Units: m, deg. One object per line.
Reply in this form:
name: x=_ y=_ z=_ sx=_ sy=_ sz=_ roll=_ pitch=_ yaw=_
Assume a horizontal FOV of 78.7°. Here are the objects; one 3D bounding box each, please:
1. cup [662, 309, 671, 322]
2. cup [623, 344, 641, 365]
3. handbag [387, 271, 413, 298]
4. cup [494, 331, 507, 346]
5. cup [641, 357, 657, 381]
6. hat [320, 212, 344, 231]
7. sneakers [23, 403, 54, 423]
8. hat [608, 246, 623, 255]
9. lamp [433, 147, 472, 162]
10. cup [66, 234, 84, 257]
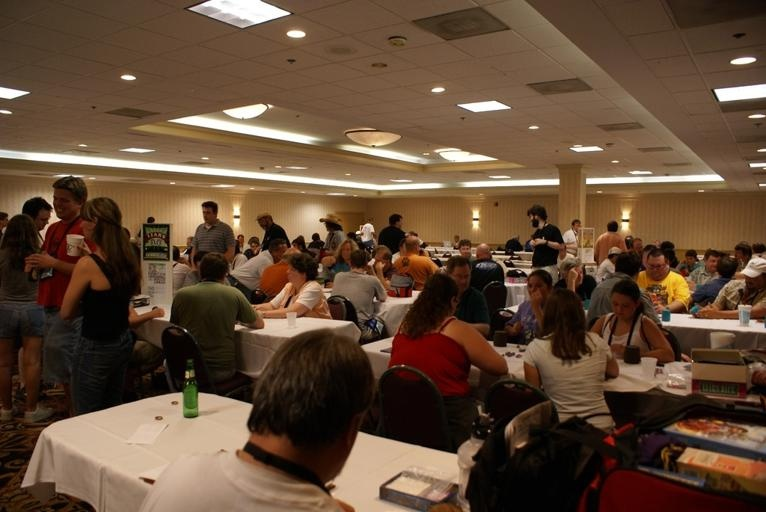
cup: x=2.935 y=0.631 z=4.894 sx=0.108 sy=0.118 sz=0.111 roll=2 pitch=-6 yaw=0
cup: x=1.812 y=0.720 z=3.415 sx=0.130 sy=0.117 sz=0.128 roll=0 pitch=-5 yaw=0
handbag: x=0.183 y=0.404 z=6.559 sx=0.463 sy=0.420 sz=0.272 roll=0 pitch=-4 yaw=31
cup: x=0.954 y=0.682 z=3.868 sx=0.115 sy=0.105 sz=0.112 roll=0 pitch=-2 yaw=0
cup: x=1.806 y=0.763 z=3.181 sx=0.129 sy=0.137 sz=0.128 roll=-2 pitch=-7 yaw=0
hat: x=-1.057 y=-0.697 z=9.693 sx=0.264 sy=0.311 sz=0.646 roll=-2 pitch=-2 yaw=10
sneakers: x=-3.207 y=1.478 z=4.433 sx=0.121 sy=0.134 sz=0.303 roll=4 pitch=3 yaw=34
hat: x=3.871 y=-0.090 z=7.789 sx=0.244 sy=0.116 sz=0.349 roll=-7 pitch=-5 yaw=30
lamp: x=1.833 y=-2.696 z=12.351 sx=0.759 sy=0.169 sz=0.739 roll=0 pitch=-1 yaw=-3
cup: x=-2.280 y=-0.083 z=3.463 sx=0.153 sy=0.158 sz=0.156 roll=3 pitch=7 yaw=0
